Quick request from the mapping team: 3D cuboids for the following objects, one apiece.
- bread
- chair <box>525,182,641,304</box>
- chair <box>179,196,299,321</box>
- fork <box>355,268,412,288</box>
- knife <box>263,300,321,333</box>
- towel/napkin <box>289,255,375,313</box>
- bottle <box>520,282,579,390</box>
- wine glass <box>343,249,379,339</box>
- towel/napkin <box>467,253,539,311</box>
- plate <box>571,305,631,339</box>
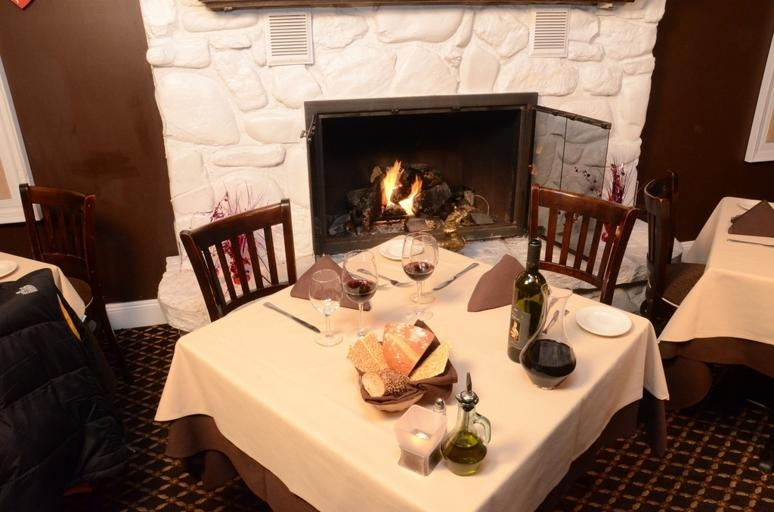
[{"bbox_3d":[0.037,0.326,1.620,0.222,0.064,0.230,-16,42,-13],"label":"bread"},{"bbox_3d":[1.003,-0.052,2.625,0.409,0.714,0.471,24,35,33],"label":"chair"},{"bbox_3d":[-0.751,-0.002,2.549,0.364,0.651,0.393,-24,47,-23],"label":"chair"},{"bbox_3d":[-0.015,0.088,1.984,0.137,0.022,0.025,21,46,16],"label":"fork"},{"bbox_3d":[-0.355,0.233,1.916,0.264,0.013,0.034,25,51,36],"label":"knife"},{"bbox_3d":[-0.213,0.085,2.050,0.330,0.085,0.339,-30,25,-22],"label":"towel/napkin"},{"bbox_3d":[0.525,0.265,1.670,0.180,0.330,0.188,6,13,-1],"label":"bottle"},{"bbox_3d":[-0.097,0.154,1.886,0.132,0.337,0.144,-8,33,-10],"label":"wine glass"},{"bbox_3d":[0.435,0.100,2.041,0.258,0.154,0.406,-2,20,29],"label":"towel/napkin"},{"bbox_3d":[0.793,0.239,1.870,0.124,0.014,0.124,24,43,36],"label":"plate"}]
